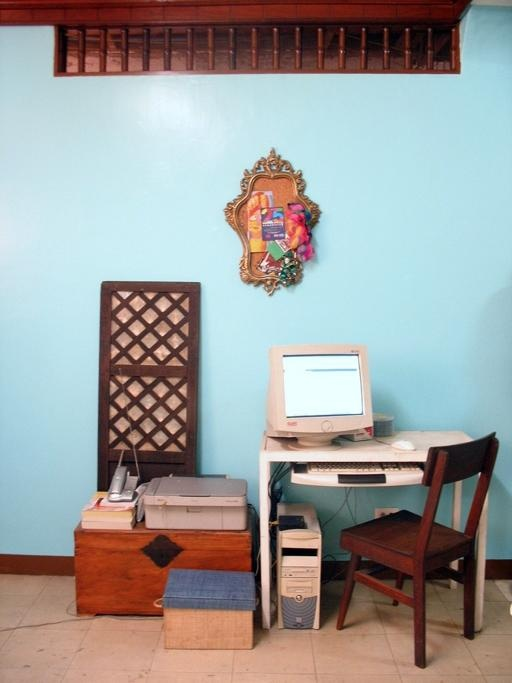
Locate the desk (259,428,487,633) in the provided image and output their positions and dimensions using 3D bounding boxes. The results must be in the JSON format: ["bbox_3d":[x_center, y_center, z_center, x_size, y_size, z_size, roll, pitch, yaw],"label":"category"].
[{"bbox_3d":[0.467,0.613,3.173,1.200,0.880,0.768,-1,-1,-2],"label":"desk"}]

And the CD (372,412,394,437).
[{"bbox_3d":[0.561,0.368,3.070,0.094,0.069,0.091,1,-5,-22],"label":"CD"}]

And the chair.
[{"bbox_3d":[0.658,0.760,2.803,0.463,0.850,0.531,11,15,44],"label":"chair"}]
